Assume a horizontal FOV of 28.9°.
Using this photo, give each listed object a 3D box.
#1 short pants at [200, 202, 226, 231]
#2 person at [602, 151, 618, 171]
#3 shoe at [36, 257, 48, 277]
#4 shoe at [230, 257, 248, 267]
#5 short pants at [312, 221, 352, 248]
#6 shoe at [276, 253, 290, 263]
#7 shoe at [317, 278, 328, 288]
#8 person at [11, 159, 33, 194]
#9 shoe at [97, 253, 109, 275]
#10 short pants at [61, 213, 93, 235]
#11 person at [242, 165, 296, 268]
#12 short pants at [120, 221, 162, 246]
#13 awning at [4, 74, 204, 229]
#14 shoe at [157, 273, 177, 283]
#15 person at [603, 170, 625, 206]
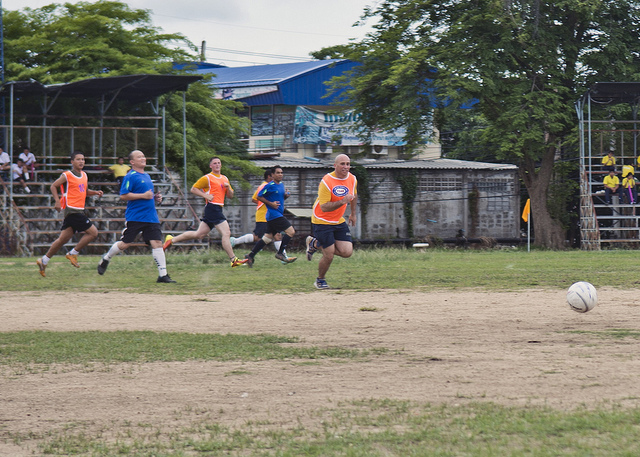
[{"bbox_3d":[-2.754,-0.320,32.368,0.584,0.720,0.447,0,1,-3],"label":"short pants"},{"bbox_3d":[10.661,-2.449,45.631,0.497,0.638,0.492,0,1,0],"label":"person"},{"bbox_3d":[-7.017,0.990,31.573,0.320,0.467,0.190,-13,10,-15],"label":"shoe"},{"bbox_3d":[-2.101,0.911,32.657,0.600,0.191,0.168,-16,14,12],"label":"shoe"},{"bbox_3d":[0.280,0.069,29.490,0.922,0.559,0.461,-10,-5,-17],"label":"short pants"},{"bbox_3d":[-0.983,0.812,34.153,0.343,0.265,0.427,0,1,-1],"label":"shoe"},{"bbox_3d":[0.083,1.286,29.326,0.235,0.220,0.217,0,1,0],"label":"shoe"},{"bbox_3d":[-9.915,-1.755,41.436,0.523,1.171,1.053,-1,1,-12],"label":"person"},{"bbox_3d":[-5.389,0.916,31.366,0.240,0.499,0.309,2,18,-46],"label":"shoe"},{"bbox_3d":[-6.170,-0.204,32.032,1.139,0.522,0.471,3,16,2],"label":"short pants"},{"bbox_3d":[-1.320,-0.324,33.603,1.259,2.751,1.417,0,1,1],"label":"person"},{"bbox_3d":[-4.444,0.117,31.188,1.278,0.558,0.392,5,-2,-5],"label":"short pants"},{"bbox_3d":[-6.972,-2.299,43.951,9.231,5.015,6.402,0,-5,-22],"label":"awning"},{"bbox_3d":[-3.696,1.227,30.251,0.529,0.183,0.290,0,1,4],"label":"shoe"},{"bbox_3d":[10.684,-1.516,45.186,0.657,1.273,1.102,0,1,19],"label":"person"}]
